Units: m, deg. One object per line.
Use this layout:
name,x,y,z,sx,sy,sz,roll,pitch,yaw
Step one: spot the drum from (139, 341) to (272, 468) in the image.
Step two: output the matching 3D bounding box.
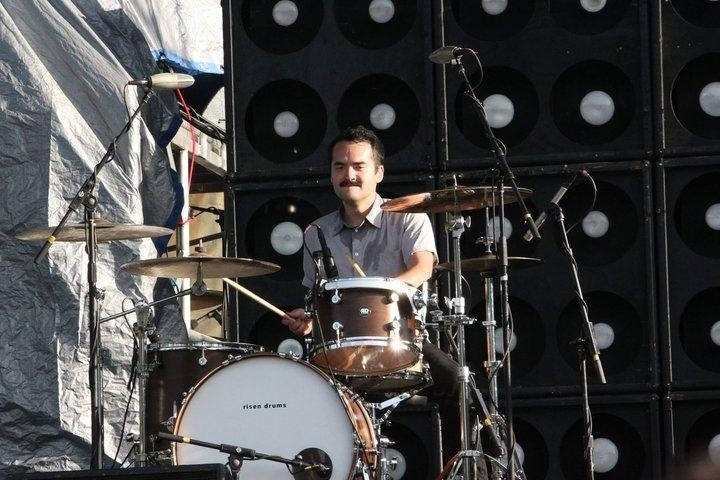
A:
drum,-0.826,1.099,12.340,0.710,0.823,1.194,3,-5,-32

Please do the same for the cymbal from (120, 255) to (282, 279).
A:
cymbal,-1.111,0.189,12.208,0.431,0.078,0.394,5,-14,-35

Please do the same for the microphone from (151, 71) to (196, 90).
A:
microphone,-1.266,-1.055,12.264,0.340,0.104,0.102,-2,-47,-14
